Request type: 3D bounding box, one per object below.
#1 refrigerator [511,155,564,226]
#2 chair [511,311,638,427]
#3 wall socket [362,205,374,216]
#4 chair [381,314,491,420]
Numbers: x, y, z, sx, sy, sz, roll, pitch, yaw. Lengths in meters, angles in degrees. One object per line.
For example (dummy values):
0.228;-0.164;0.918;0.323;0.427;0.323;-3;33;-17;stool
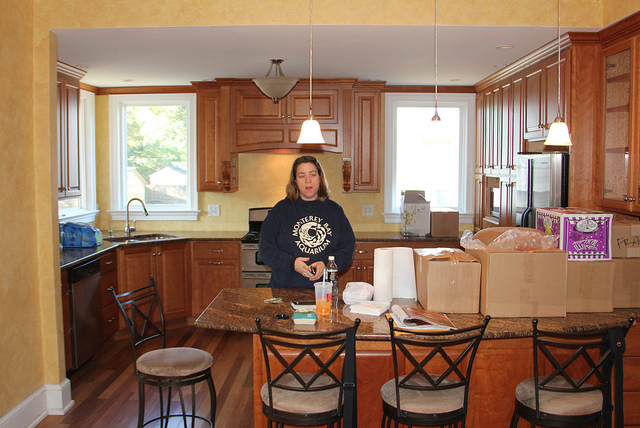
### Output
1.942;-0.221;4.569;0.216;0.656;0.647;-2;10;-3;refrigerator
1.512;0.979;3.098;0.661;0.847;0.478;0;10;6;chair
0.606;-0.061;6.328;0.143;0.122;0.015;1;3;0;wall socket
0.678;0.946;3.089;0.605;0.782;0.456;-1;10;-1;chair
